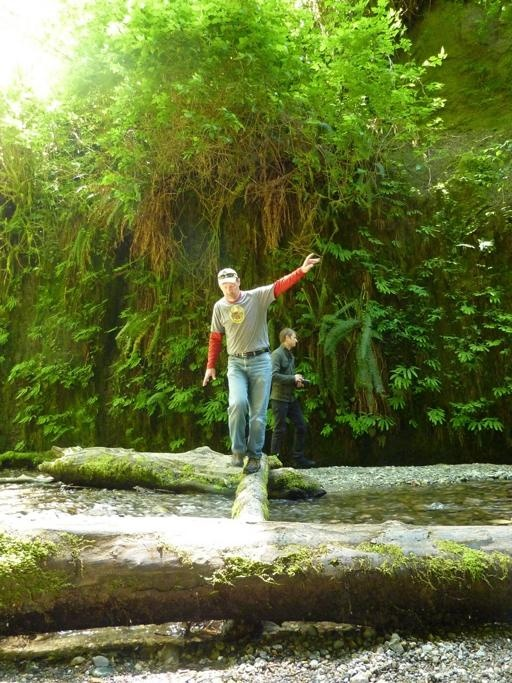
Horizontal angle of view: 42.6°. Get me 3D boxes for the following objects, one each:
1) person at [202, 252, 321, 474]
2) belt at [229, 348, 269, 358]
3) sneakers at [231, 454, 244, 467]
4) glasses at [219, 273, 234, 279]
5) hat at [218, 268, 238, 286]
[{"bbox_3d":[-0.026,0.231,5.838,0.678,1.799,0.959,-6,3,-38],"label":"person"},{"bbox_3d":[-0.048,0.098,5.704,0.324,0.084,0.131,-4,2,-7],"label":"belt"},{"bbox_3d":[-0.160,1.026,5.724,0.094,0.126,0.132,-3,3,1],"label":"sneakers"},{"bbox_3d":[-0.248,-0.572,5.675,0.135,0.065,0.096,-4,2,-4],"label":"glasses"},{"bbox_3d":[-0.246,-0.569,5.744,0.139,0.119,0.202,-6,5,5],"label":"hat"}]
